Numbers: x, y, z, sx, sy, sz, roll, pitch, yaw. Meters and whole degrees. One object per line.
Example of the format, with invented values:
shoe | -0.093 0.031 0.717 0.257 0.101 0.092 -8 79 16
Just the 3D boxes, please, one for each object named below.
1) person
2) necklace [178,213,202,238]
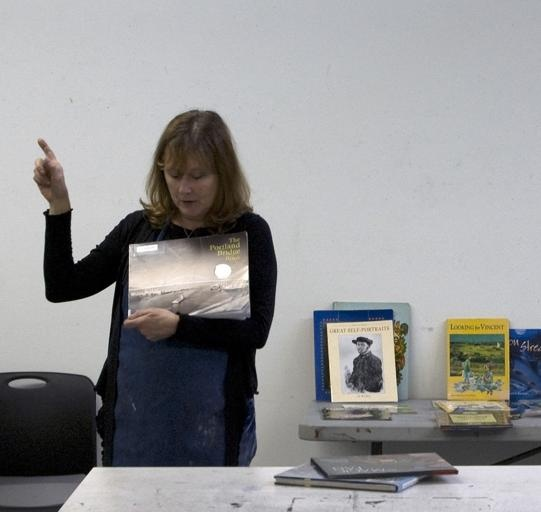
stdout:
person | -0.301 0.290 1.629 0.535 1.261 0.358 -2 26 -18
necklace | -0.205 -0.068 1.584 0.059 0.045 0.053 25 -7 -5
